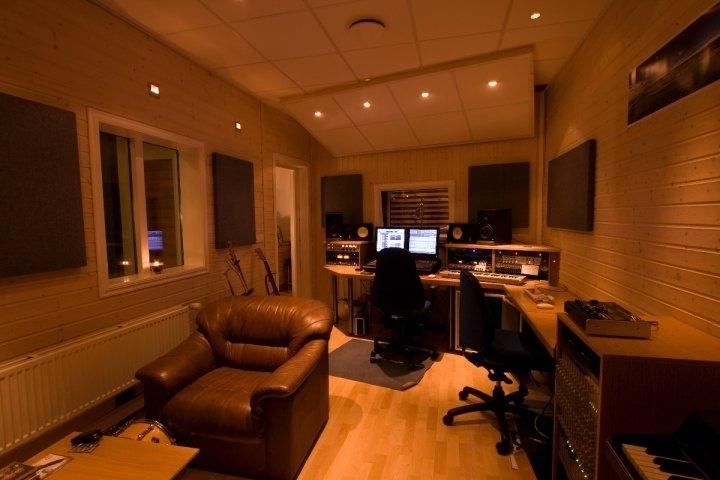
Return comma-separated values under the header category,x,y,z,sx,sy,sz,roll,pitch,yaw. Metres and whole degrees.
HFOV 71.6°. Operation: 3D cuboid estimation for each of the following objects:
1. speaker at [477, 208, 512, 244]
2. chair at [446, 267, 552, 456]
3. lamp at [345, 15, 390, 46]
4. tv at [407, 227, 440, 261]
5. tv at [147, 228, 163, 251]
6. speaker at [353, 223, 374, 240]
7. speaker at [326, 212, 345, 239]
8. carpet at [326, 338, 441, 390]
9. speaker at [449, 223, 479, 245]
category,x,y,z,sx,sy,sz,roll,pitch,yaw
speaker,1.546,-0.157,5.743,0.204,0.377,0.395,-2,2,-27
chair,1.256,1.108,5.161,1.303,1.854,1.431,0,-4,8
lamp,0.077,-1.921,4.575,0.355,0.144,0.294,-2,4,14
tv,0.776,0.047,6.088,0.383,0.351,0.129,2,3,26
tv,-2.135,0.000,5.201,0.074,0.214,0.239,-2,4,10
speaker,0.054,-0.120,6.688,0.219,0.211,0.216,2,3,3
speaker,-0.350,-0.205,6.891,0.237,0.351,0.312,-3,4,-6
carpet,0.209,1.345,5.516,1.142,0.234,0.980,-1,4,24
speaker,1.253,-0.042,6.040,0.210,0.268,0.403,5,-4,-42
